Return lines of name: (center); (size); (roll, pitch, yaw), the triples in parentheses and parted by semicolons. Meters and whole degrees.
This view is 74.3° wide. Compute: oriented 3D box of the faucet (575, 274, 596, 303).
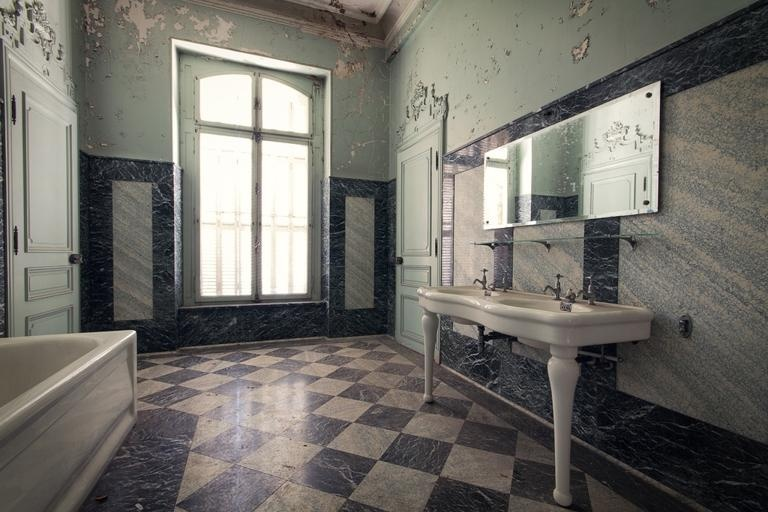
faucet: (1.428, 0.236, 3.602); (0.131, 0.187, 0.206); (1, 6, 21)

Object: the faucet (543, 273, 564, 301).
faucet: (1.262, 0.226, 3.807); (0.146, 0.197, 0.186); (2, 1, -28)

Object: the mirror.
mirror: (1.235, -0.588, 3.669); (1.821, 0.893, 0.077); (-13, 19, -14)

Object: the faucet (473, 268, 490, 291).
faucet: (0.845, 0.205, 4.393); (0.172, 0.205, 0.141); (1, 3, -8)
